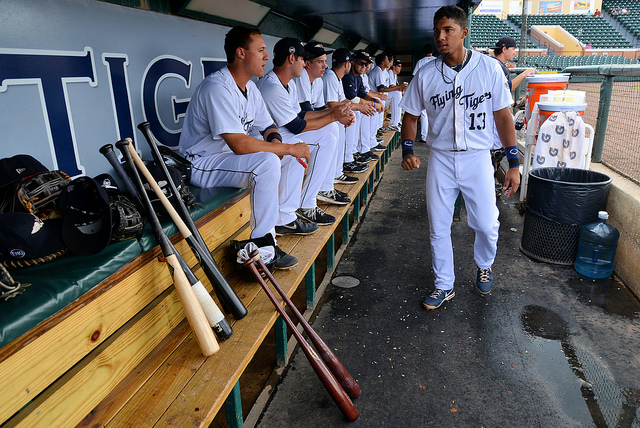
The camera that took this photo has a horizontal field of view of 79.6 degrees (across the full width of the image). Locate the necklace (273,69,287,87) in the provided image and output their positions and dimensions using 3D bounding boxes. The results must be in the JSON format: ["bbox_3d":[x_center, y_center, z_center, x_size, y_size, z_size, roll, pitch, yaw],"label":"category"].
[{"bbox_3d":[-0.367,-1.276,3.602,0.057,0.170,0.163,16,30,35],"label":"necklace"}]

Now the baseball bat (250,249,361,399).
[{"bbox_3d":[-0.110,0.770,2.581,0.103,1.081,0.113,-44,-12,31],"label":"baseball bat"}]

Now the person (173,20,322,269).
[{"bbox_3d":[-0.531,-0.542,2.873,1.033,1.605,0.906,4,17,4],"label":"person"}]

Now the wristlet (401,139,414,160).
[{"bbox_3d":[0.677,-0.504,2.959,0.079,0.119,0.145,2,25,11],"label":"wristlet"}]

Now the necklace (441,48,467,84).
[{"bbox_3d":[0.940,-1.070,2.790,0.113,0.211,0.036,17,18,32],"label":"necklace"}]

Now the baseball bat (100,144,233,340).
[{"bbox_3d":[-0.826,0.181,2.051,0.151,1.237,0.119,-29,-1,-45],"label":"baseball bat"}]

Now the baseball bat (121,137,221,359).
[{"bbox_3d":[-0.800,0.221,2.059,0.142,1.354,0.147,-27,-2,-40],"label":"baseball bat"}]

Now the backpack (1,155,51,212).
[{"bbox_3d":[-1.432,-0.155,1.847,0.198,0.188,0.316,-17,28,-29],"label":"backpack"}]

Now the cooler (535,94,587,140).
[{"bbox_3d":[2.631,-1.060,4.229,0.459,0.443,0.638,11,28,27],"label":"cooler"}]

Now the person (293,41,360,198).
[{"bbox_3d":[0.042,-1.084,4.242,0.773,1.561,0.558,1,1,25],"label":"person"}]

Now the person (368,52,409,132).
[{"bbox_3d":[1.414,-2.528,7.893,0.837,1.505,0.592,12,31,27],"label":"person"}]

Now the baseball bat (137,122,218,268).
[{"bbox_3d":[-0.824,-0.101,2.287,0.168,1.050,0.145,-29,-7,25],"label":"baseball bat"}]

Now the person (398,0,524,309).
[{"bbox_3d":[1.065,-0.395,2.992,0.868,2.200,0.735,-11,26,-17],"label":"person"}]

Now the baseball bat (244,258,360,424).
[{"bbox_3d":[-0.132,0.852,2.478,0.137,1.063,0.115,-35,-4,-4],"label":"baseball bat"}]

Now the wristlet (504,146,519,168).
[{"bbox_3d":[1.471,-0.436,2.921,0.093,0.163,0.108,-5,25,-6],"label":"wristlet"}]

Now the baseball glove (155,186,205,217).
[{"bbox_3d":[-0.804,-0.065,2.241,0.130,0.096,0.192,34,81,34],"label":"baseball glove"}]

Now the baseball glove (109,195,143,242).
[{"bbox_3d":[-0.937,0.013,1.913,0.204,0.194,0.180,6,12,1],"label":"baseball glove"}]

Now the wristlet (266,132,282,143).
[{"bbox_3d":[-0.376,-0.635,3.150,0.072,0.049,0.133,17,26,6],"label":"wristlet"}]
